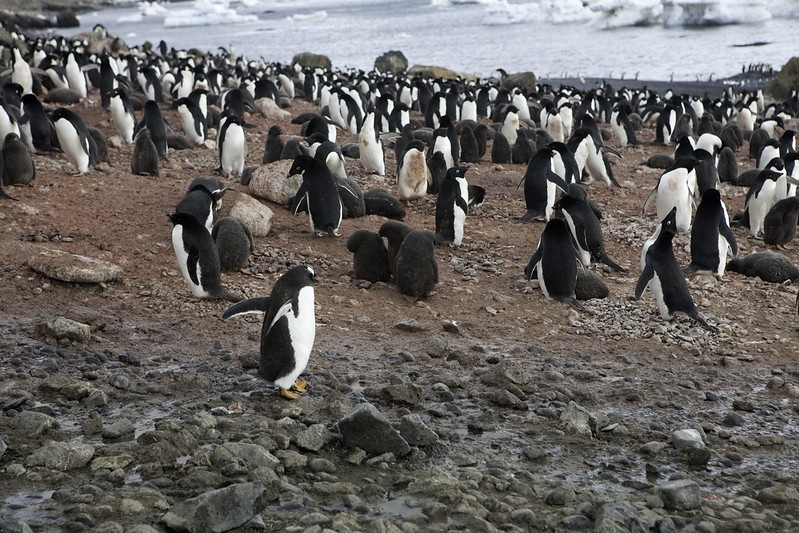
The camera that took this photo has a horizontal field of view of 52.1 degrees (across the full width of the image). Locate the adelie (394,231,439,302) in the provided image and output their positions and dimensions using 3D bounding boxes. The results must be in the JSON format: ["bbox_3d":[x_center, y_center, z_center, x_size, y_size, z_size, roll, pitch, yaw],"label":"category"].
[{"bbox_3d":[0.184,0.019,9.690,0.546,0.707,0.651,7,41,16],"label":"adelie"}]

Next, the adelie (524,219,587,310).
[{"bbox_3d":[1.858,-0.014,9.723,0.670,0.770,1.003,-9,46,-12],"label":"adelie"}]

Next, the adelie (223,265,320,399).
[{"bbox_3d":[-1.149,0.615,7.804,0.645,1.210,0.533,2,17,-4],"label":"adelie"}]
